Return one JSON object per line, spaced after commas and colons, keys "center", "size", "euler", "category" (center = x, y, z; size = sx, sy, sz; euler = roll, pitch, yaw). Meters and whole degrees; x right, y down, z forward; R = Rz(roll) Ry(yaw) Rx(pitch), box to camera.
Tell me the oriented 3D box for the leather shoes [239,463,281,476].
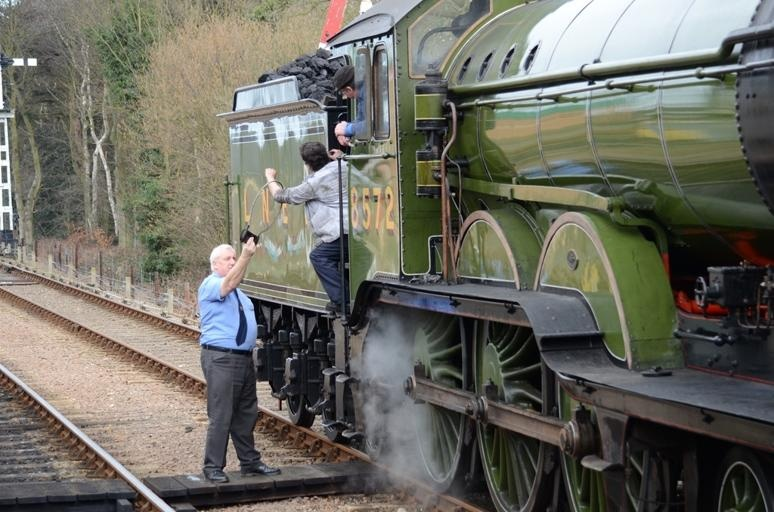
{"center": [-1.515, 2.540, 8.491], "size": [0.411, 0.207, 0.189], "euler": [-2, 1, -5], "category": "leather shoes"}
